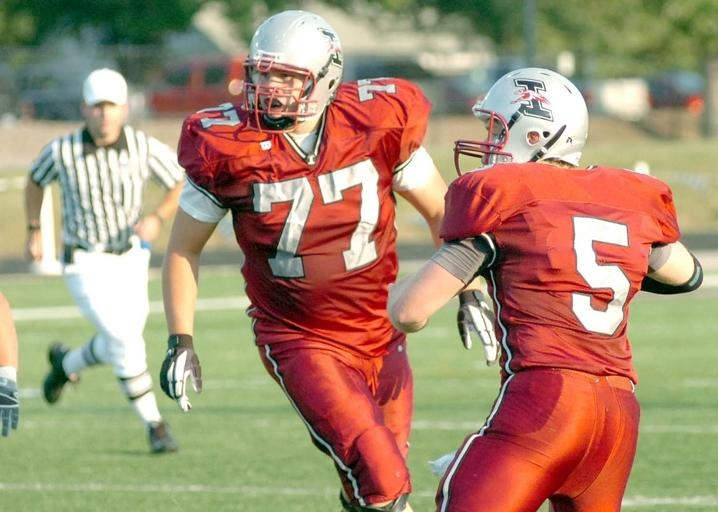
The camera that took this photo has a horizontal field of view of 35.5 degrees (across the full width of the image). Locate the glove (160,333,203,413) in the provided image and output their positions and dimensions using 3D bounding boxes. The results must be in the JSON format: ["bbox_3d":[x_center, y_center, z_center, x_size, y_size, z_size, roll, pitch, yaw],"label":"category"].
[{"bbox_3d":[-0.834,0.556,5.243,0.188,0.378,0.247,-1,8,-10],"label":"glove"}]

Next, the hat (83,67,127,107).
[{"bbox_3d":[-1.674,-1.107,7.400,0.249,0.177,0.321,3,3,-11],"label":"hat"}]

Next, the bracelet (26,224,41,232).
[{"bbox_3d":[-2.082,-0.177,7.173,0.056,0.070,0.030,17,-15,12],"label":"bracelet"}]

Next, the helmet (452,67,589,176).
[{"bbox_3d":[0.745,-0.594,5.108,0.648,0.490,0.475,-1,7,-3],"label":"helmet"}]

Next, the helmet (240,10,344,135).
[{"bbox_3d":[-0.388,-0.933,5.471,0.513,0.526,0.627,11,22,6],"label":"helmet"}]

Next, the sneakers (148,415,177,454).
[{"bbox_3d":[-1.176,1.104,6.932,0.141,0.222,0.228,-31,-2,-3],"label":"sneakers"}]

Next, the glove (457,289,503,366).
[{"bbox_3d":[0.540,0.349,5.269,0.215,0.339,0.098,23,-46,-36],"label":"glove"}]

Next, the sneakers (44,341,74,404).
[{"bbox_3d":[-1.993,0.783,7.340,0.175,0.423,0.199,6,2,-34],"label":"sneakers"}]
